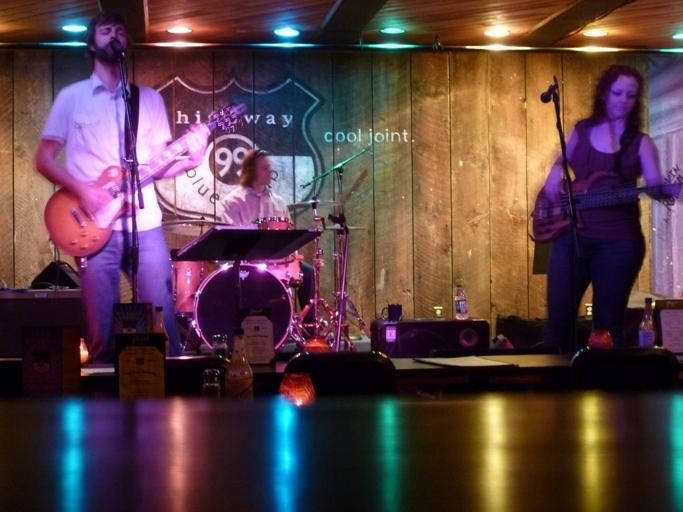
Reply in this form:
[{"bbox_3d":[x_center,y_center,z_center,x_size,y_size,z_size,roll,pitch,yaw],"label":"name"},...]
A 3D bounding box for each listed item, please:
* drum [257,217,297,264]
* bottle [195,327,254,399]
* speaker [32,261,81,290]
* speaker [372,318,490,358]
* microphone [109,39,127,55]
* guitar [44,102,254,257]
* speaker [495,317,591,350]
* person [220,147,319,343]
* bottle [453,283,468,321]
[{"bbox_3d":[-0.459,-0.118,5.113,0.324,0.376,0.337,1,1,14],"label":"drum"},{"bbox_3d":[-0.357,0.308,2.289,0.138,0.198,0.342,0,0,-11],"label":"bottle"},{"bbox_3d":[-2.183,0.163,5.732,0.280,0.155,0.286,0,-2,-10],"label":"speaker"},{"bbox_3d":[0.558,0.532,4.888,0.783,0.240,0.425,0,0,8],"label":"speaker"},{"bbox_3d":[-1.118,-1.036,3.719,0.050,0.055,0.201,3,6,-8],"label":"microphone"},{"bbox_3d":[-1.138,-0.437,4.221,0.955,0.869,0.375,0,0,-44],"label":"guitar"},{"bbox_3d":[1.666,0.618,6.193,0.738,0.249,0.583,-1,0,-3],"label":"speaker"},{"bbox_3d":[-0.608,-0.001,6.186,0.713,1.829,0.618,0,-12,-20],"label":"person"},{"bbox_3d":[1.060,0.407,6.647,0.119,0.338,0.121,-4,0,0],"label":"bottle"}]
